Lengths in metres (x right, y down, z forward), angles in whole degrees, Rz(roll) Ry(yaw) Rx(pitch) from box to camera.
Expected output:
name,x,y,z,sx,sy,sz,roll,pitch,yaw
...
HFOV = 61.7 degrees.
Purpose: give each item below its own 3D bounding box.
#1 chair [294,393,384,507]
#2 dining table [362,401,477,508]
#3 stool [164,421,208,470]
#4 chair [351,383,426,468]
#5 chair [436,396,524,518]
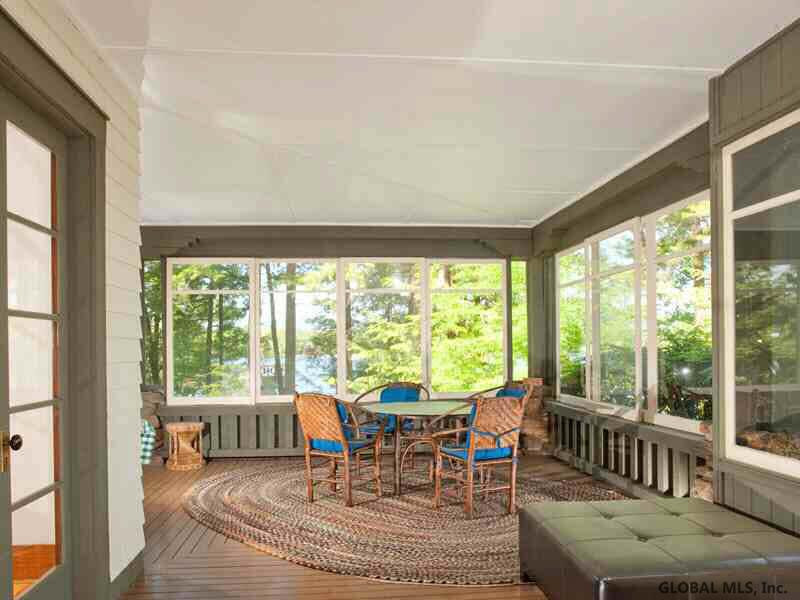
name,x,y,z,sx,sy,sz,roll,pitch,yaw
chair,-0.584,1.340,6.197,0.715,0.975,0.668,-4,-5,27
dining table,0.138,1.500,6.745,1.032,0.573,0.986,9,-15,-24
stool,-2.513,1.709,7.874,0.518,0.471,0.500,1,-6,-30
chair,-0.151,1.409,7.468,0.793,0.915,0.726,2,-3,14
chair,0.689,1.334,5.801,0.715,0.966,0.642,4,-7,-28
